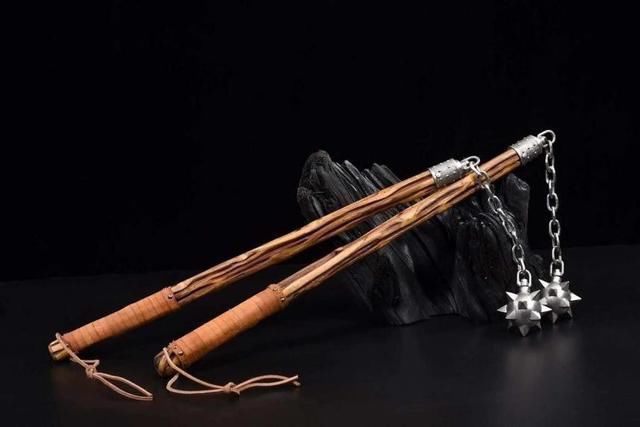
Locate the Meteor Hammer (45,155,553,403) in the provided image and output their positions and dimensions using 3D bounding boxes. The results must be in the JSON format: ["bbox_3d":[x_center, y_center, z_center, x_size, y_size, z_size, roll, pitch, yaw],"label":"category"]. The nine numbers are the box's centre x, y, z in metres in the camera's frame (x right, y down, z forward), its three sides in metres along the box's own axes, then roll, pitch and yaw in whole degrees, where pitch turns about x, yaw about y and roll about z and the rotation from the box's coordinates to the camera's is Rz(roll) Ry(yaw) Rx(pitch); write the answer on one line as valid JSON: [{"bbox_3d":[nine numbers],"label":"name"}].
[{"bbox_3d":[0.212,0.527,3.019,2.118,1.015,0.224,-29,-31,-17],"label":"Meteor Hammer"}]
